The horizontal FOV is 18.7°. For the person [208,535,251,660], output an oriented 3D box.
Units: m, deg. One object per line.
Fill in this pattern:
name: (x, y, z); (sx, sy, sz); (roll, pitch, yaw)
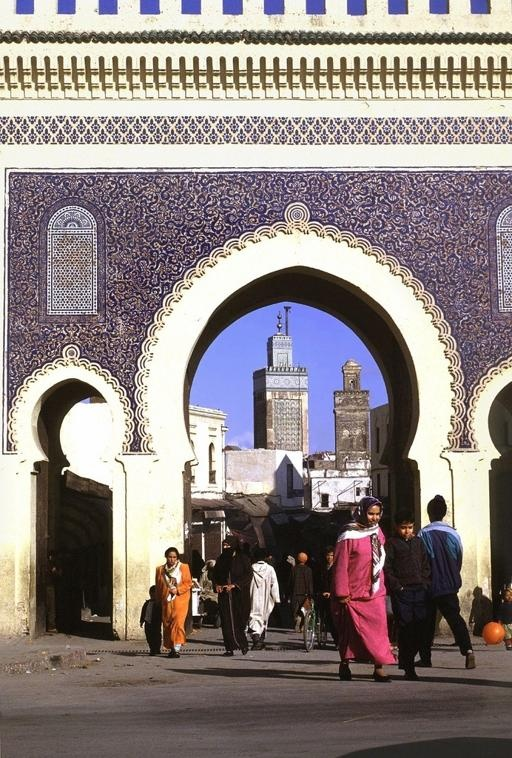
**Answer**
person: (-0.208, 1.779, 12.883); (0.284, 1.035, 0.288); (2, 5, 14)

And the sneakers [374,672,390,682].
sneakers: (0.831, 1.956, 10.255); (0.042, 0.061, 0.142); (1, -4, 19)

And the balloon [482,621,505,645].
balloon: (1.823, 1.940, 11.939); (0.142, 0.158, 0.269); (-2, -9, 6)

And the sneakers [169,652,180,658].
sneakers: (-0.663, 2.182, 12.345); (0.088, 0.057, 0.195); (0, -9, -7)

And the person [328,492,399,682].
person: (0.688, 1.383, 10.268); (0.393, 1.206, 0.267); (-2, -7, 3)

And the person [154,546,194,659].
person: (-0.667, 1.791, 12.512); (0.276, 0.863, 0.387); (0, -8, -11)
